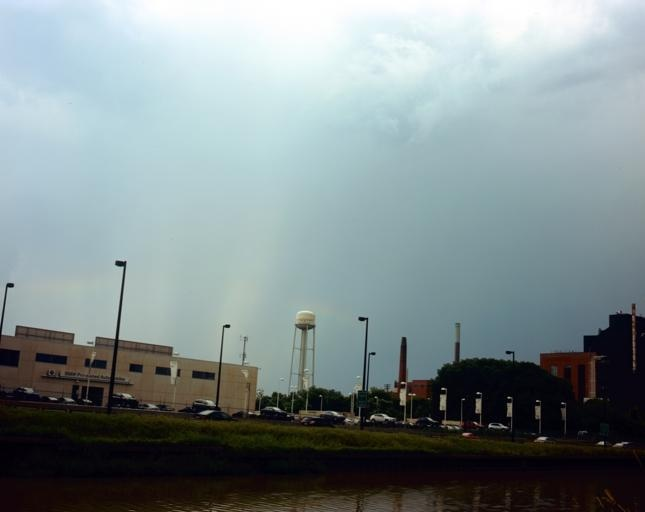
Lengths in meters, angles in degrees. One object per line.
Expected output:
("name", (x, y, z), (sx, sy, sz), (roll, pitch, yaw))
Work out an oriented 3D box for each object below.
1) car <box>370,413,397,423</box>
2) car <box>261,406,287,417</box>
("car", (6.670, 18.550, 84.153), (2.825, 1.238, 1.475), (-4, -5, 14))
("car", (-4.723, 14.885, 71.333), (2.209, 0.883, 1.061), (-5, -8, 35))
